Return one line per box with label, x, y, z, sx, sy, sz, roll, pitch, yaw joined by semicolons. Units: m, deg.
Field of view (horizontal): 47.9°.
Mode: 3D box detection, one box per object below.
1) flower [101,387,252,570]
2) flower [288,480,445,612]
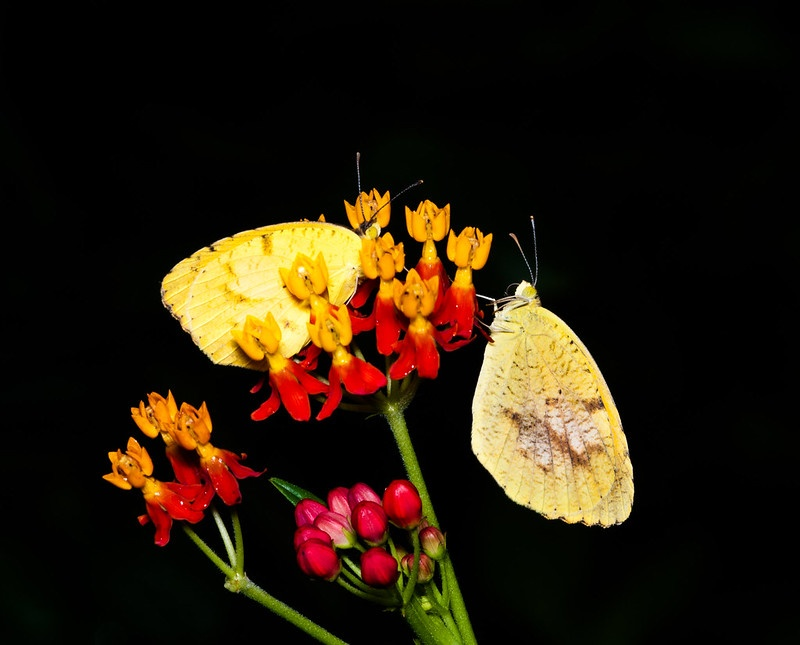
flower;-0.902;0.661;3.788;0.715;0.359;0.818;-18;20;11
flower;-0.106;0.874;3.712;0.613;0.589;0.356;-32;97;-29
